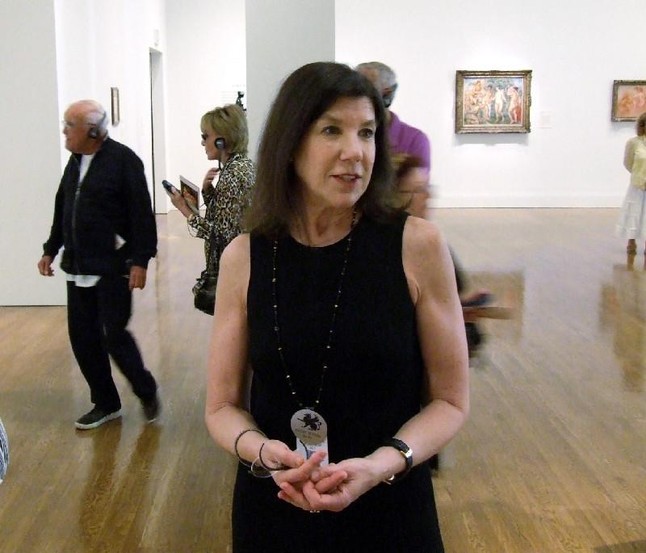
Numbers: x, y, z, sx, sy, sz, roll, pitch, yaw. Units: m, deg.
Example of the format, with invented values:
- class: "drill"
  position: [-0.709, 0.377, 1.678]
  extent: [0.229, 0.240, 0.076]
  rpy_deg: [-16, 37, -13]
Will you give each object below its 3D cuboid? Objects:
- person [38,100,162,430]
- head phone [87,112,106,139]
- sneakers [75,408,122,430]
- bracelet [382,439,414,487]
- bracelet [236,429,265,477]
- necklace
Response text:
- class: "person"
  position: [-1.362, -0.061, 3.376]
  extent: [0.565, 2.035, 0.336]
  rpy_deg: [-4, 10, -17]
- class: "head phone"
  position: [-1.404, -0.937, 3.339]
  extent: [0.099, 0.152, 0.137]
  rpy_deg: [11, 4, -11]
- class: "sneakers"
  position: [-1.476, 0.935, 3.472]
  extent: [0.280, 0.129, 0.101]
  rpy_deg: [-3, -2, -41]
- class: "bracelet"
  position: [0.151, 0.368, 1.052]
  extent: [0.061, 0.078, 0.048]
  rpy_deg: [-3, 10, -13]
- class: "bracelet"
  position: [-0.149, 0.376, 1.104]
  extent: [0.022, 0.097, 0.082]
  rpy_deg: [-3, 12, -30]
- class: "necklace"
  position: [-0.020, 0.133, 1.161]
  extent: [0.190, 0.472, 0.168]
  rpy_deg: [-1, 10, -1]
